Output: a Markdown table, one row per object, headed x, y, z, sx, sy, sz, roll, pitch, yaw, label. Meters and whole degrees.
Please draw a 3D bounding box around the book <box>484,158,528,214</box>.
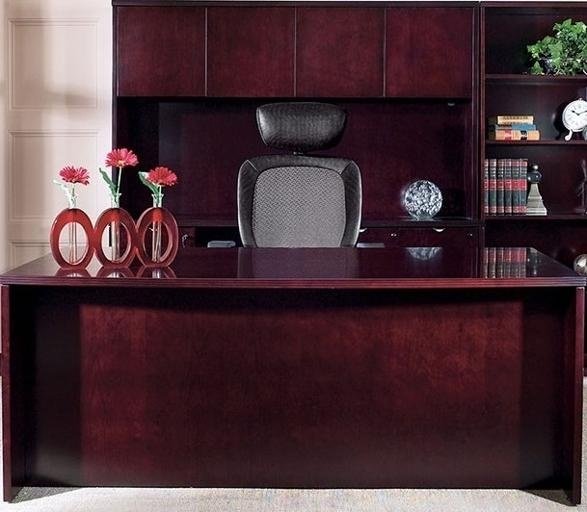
| x | y | z | sx | sy | sz | roll | pitch | yaw | label |
| --- | --- | --- | --- | --- | --- | --- | --- | --- | --- |
| 1.127 | -0.349 | 3.390 | 0.240 | 0.358 | 0.342 | 0 | 1 | 6 | book |
